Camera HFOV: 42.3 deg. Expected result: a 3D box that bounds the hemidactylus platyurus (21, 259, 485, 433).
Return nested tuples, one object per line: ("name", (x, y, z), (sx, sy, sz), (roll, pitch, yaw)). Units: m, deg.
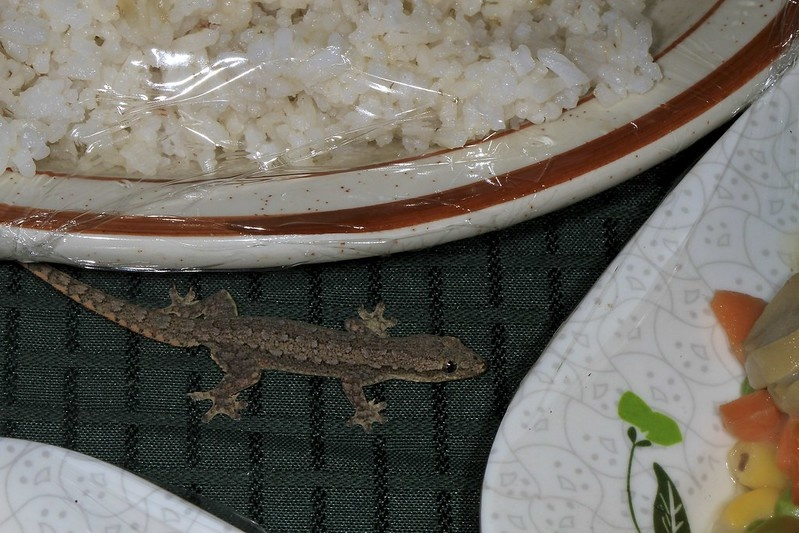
("hemidactylus platyurus", (-0.210, 0.142, 1.810), (0.892, 0.311, 0.106), (8, -12, 6))
